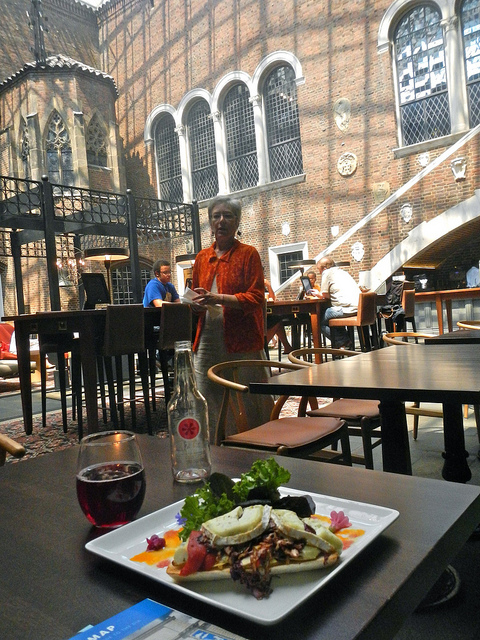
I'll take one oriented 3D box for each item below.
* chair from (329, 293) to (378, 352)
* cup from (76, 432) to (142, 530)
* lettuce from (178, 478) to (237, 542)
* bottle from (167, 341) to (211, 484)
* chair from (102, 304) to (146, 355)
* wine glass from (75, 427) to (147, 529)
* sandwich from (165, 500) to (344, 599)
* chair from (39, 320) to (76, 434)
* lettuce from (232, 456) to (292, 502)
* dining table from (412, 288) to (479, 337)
[{"bbox_3d":[1.647,0.034,7.344,0.675,0.795,0.658,-3,6,-7],"label":"chair"},{"bbox_3d":[-0.190,0.229,0.717,0.098,0.120,0.091,-6,-7,-1],"label":"cup"},{"bbox_3d":[-0.048,0.207,0.559,0.042,0.019,0.050,22,31,35],"label":"lettuce"},{"bbox_3d":[-0.097,0.162,0.925,0.077,0.204,0.154,-6,2,-8],"label":"bottle"},{"bbox_3d":[-1.053,0.066,4.445,0.432,0.560,0.425,-1,4,-32],"label":"chair"},{"bbox_3d":[-0.185,0.229,0.725,0.100,0.122,0.102,-8,-11,14],"label":"wine glass"},{"bbox_3d":[0.017,0.223,0.514,0.163,0.058,0.105,-6,3,-34],"label":"sandwich"},{"bbox_3d":[-1.867,0.569,5.044,0.437,0.949,0.415,-3,-1,-37],"label":"chair"},{"bbox_3d":[0.027,0.193,0.614,0.058,0.032,0.065,4,-3,-40],"label":"lettuce"},{"bbox_3d":[3.529,-0.150,8.591,0.908,0.811,0.677,3,12,31],"label":"dining table"}]
